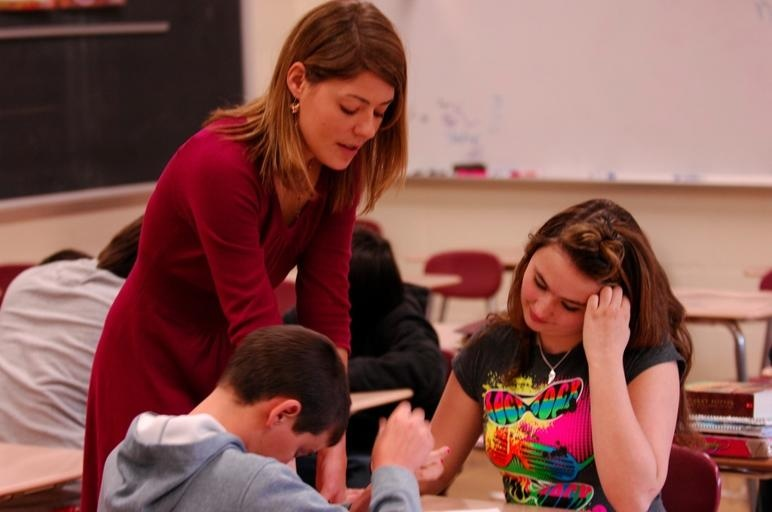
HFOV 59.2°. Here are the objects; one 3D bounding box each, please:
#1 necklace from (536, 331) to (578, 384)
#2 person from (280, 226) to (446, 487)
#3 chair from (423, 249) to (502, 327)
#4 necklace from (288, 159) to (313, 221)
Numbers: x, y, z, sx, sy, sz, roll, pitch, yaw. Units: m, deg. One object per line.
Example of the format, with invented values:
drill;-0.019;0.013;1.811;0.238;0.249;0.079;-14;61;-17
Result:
necklace;0.463;0.277;1.822;0.099;0.121;0.025;9;-10;23
person;-0.097;0.396;2.519;0.543;0.833;0.492;5;3;-5
chair;0.565;0.223;5.043;0.465;0.567;0.471;0;-4;1
necklace;-0.206;-0.162;1.724;0.044;0.131;0.095;16;39;-3
